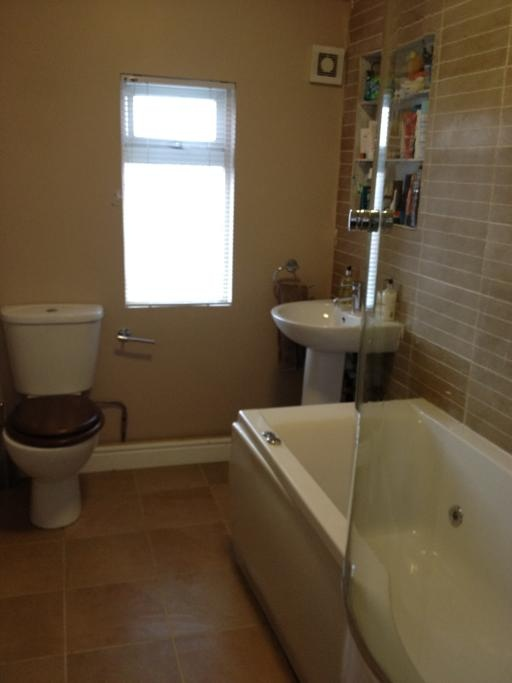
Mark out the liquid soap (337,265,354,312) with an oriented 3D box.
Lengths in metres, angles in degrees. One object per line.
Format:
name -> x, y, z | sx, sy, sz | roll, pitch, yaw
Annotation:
liquid soap -> 0.450, -0.286, 2.710 | 0.060, 0.219, 0.072 | 10, 53, 14

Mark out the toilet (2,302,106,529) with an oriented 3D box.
toilet -> -0.908, 0.325, 2.461 | 0.437, 0.889, 0.625 | -2, 12, -17
